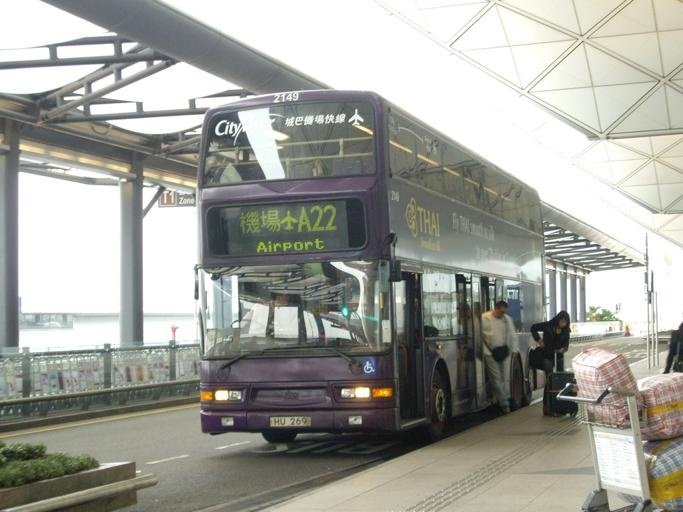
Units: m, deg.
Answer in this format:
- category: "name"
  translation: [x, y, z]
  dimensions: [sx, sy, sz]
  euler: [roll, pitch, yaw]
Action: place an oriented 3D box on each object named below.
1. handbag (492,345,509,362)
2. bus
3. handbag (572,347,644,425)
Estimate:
- category: "handbag"
  translation: [3.369, 2.062, 14.025]
  dimensions: [0.292, 0.260, 0.391]
  euler: [-8, -14, 9]
- category: "bus"
  translation: [0.673, 0.663, 14.574]
  dimensions: [3.277, 4.789, 10.258]
  euler: [-3, -6, 29]
- category: "handbag"
  translation: [2.321, 1.154, 5.798]
  dimensions: [0.543, 0.661, 0.551]
  euler: [-6, -7, 27]
